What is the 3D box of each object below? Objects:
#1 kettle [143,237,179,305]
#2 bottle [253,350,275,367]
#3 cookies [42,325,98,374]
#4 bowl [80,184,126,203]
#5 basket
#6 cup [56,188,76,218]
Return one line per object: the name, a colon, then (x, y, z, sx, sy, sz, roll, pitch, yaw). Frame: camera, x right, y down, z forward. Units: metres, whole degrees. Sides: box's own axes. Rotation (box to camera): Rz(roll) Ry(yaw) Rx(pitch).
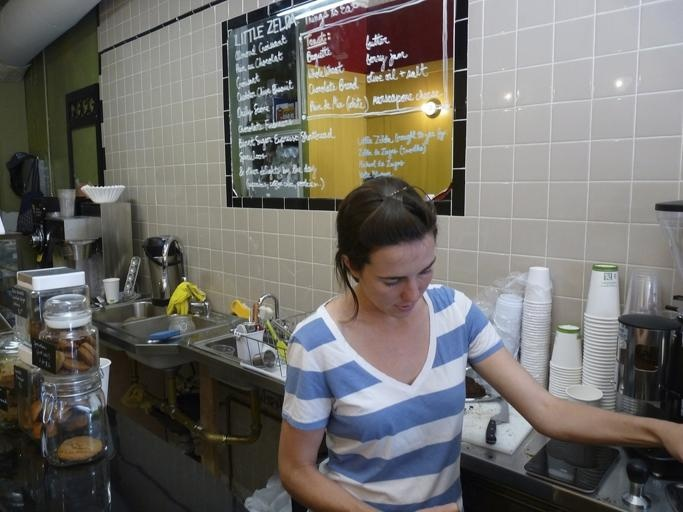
kettle: (-1.205, 0.101, 3.533, 0.230, 0.477, 0.225, 0, 5, 20)
bottle: (-0.363, 0.500, 2.479, 0.091, 0.078, 0.036, -5, 1, 28)
cookies: (-0.772, 0.254, 1.503, 0.122, 0.143, 0.134, -1, -1, -9)
bowl: (-1.788, -0.472, 3.910, 0.271, 0.144, 0.288, -2, 5, 0)
basket: (-0.318, 0.319, 2.438, 0.319, 0.244, 0.343, 8, 10, 44)
cup: (-2.033, -0.401, 3.859, 0.103, 0.195, 0.087, -5, 5, -34)
